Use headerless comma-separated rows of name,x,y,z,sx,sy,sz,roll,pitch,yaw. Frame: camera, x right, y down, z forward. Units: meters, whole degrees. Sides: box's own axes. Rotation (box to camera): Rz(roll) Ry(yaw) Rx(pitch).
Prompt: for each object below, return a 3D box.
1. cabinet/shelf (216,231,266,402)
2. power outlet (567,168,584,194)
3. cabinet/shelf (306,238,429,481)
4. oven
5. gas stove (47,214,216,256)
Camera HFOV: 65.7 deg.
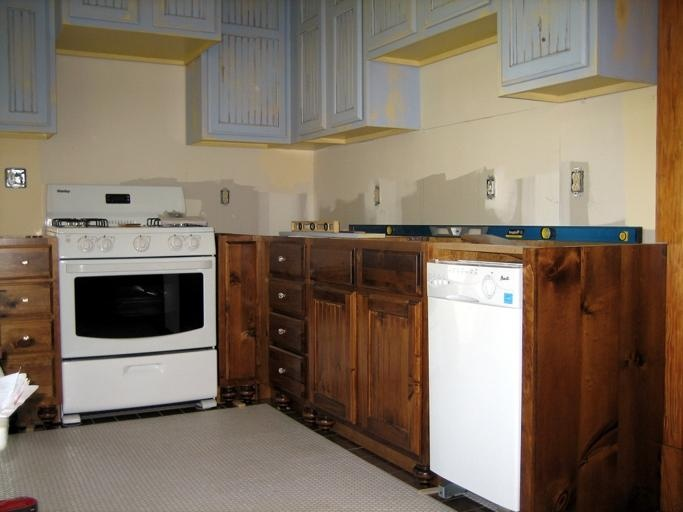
cabinet/shelf,-0.637,0.344,3.454,0.249,1.004,0.345,1,1,-25
power outlet,1.063,-0.344,2.387,0.028,0.100,0.066,4,-1,-31
cabinet/shelf,0.246,0.387,2.725,0.506,1.051,0.853,-13,14,-38
oven,-1.262,0.396,3.363,0.868,1.056,0.719,-1,5,-25
gas stove,-1.287,-0.113,3.250,0.888,0.234,0.625,-1,3,-30
